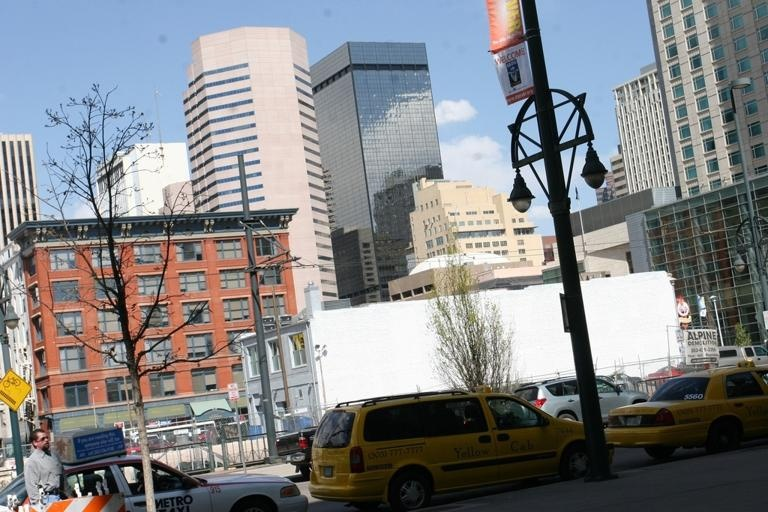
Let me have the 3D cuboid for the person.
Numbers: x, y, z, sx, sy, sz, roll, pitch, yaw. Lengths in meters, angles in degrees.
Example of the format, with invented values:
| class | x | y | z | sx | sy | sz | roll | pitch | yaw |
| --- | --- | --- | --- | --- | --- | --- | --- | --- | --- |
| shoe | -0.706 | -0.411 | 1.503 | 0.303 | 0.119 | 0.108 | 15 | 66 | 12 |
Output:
| class | x | y | z | sx | sy | sz | roll | pitch | yaw |
| --- | --- | --- | --- | --- | --- | --- | --- | --- | --- |
| person | -8.270 | 5.181 | 23.425 | 0.977 | 1.875 | 0.387 | -5 | -8 | -21 |

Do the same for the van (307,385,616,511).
| class | x | y | z | sx | sy | sz | roll | pitch | yaw |
| --- | --- | --- | --- | --- | --- | --- | --- | --- | --- |
| van | 1.716 | 5.551 | 27.725 | 7.274 | 2.644 | 3.808 | -7 | -4 | -19 |
